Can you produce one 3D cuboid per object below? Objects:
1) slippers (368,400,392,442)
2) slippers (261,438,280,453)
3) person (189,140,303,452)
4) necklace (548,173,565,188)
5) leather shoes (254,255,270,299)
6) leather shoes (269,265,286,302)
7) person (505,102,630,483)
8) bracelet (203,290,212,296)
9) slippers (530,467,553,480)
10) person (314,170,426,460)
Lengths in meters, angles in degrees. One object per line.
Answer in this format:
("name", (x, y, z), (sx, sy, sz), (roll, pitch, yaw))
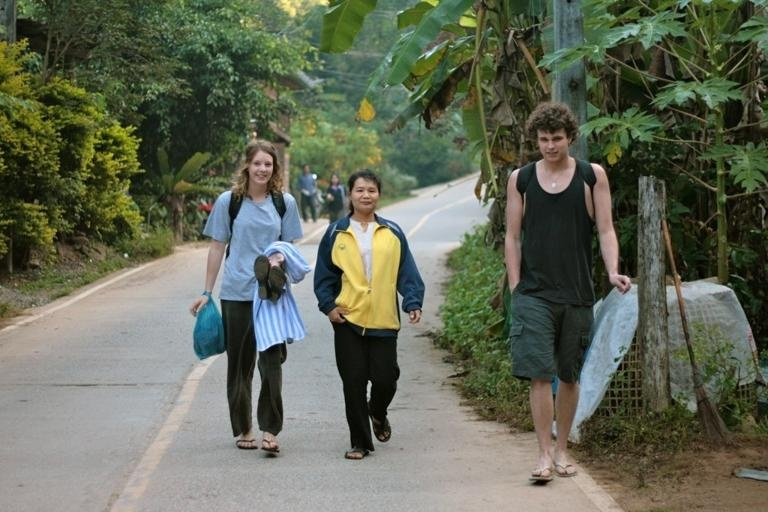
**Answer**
("slippers", (-0.048, 1.627, 8.328), (0.167, 0.472, 0.126), (-15, 14, 18))
("slippers", (-1.084, 1.786, 8.113), (0.179, 0.160, 0.212), (-1, 9, -9))
("person", (-1.310, 0.379, 8.240), (0.917, 2.929, 0.853), (1, 9, 3))
("necklace", (1.503, -0.634, 7.429), (0.128, 0.120, 0.055), (1, 9, 7))
("leather shoes", (-1.135, 0.197, 8.050), (0.145, 0.397, 0.157), (-1, -6, 5))
("leather shoes", (-1.012, 0.263, 8.124), (0.165, 0.325, 0.132), (5, 2, 9))
("person", (1.546, 0.305, 7.449), (0.977, 3.210, 0.564), (2, 9, 9))
("bracelet", (-1.710, 0.355, 8.234), (0.062, 0.042, 0.114), (0, -8, 7))
("slippers", (1.360, 1.883, 7.381), (0.178, 0.159, 0.105), (2, 9, 8))
("person", (-0.221, 0.542, 8.031), (0.831, 2.649, 0.558), (0, 9, -5))
